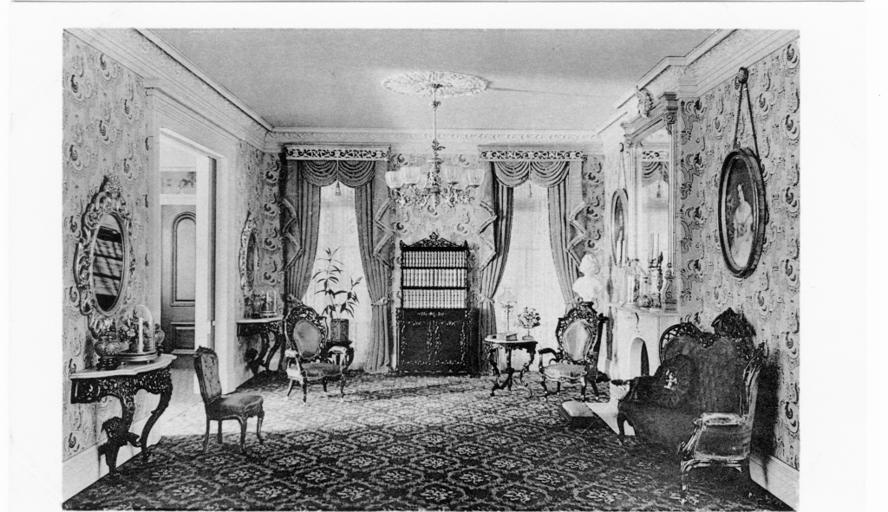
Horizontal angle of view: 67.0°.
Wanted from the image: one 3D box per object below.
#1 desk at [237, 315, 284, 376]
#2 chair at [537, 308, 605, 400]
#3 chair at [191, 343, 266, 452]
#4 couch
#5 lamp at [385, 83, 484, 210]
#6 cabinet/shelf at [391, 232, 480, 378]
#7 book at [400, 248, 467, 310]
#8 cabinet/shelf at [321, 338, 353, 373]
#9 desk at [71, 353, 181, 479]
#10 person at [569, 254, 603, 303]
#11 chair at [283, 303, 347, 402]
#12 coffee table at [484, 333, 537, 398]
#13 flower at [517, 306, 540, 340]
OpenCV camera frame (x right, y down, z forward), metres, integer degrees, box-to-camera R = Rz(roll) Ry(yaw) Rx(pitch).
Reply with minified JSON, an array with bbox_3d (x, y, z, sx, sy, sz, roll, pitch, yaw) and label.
[{"bbox_3d":[-3.251,1.508,11.714,0.775,1.102,1.122,-2,12,-12],"label":"desk"},{"bbox_3d":[2.002,1.476,10.427,0.894,1.470,0.818,2,-3,38],"label":"chair"},{"bbox_3d":[-2.693,1.786,8.490,0.762,1.296,0.549,-3,11,-15],"label":"chair"},{"bbox_3d":[3.056,1.677,8.059,1.288,1.943,1.648,-3,11,-17],"label":"couch"},{"bbox_3d":[-0.103,-1.642,10.235,1.691,2.042,1.696,0,-1,1],"label":"lamp"},{"bbox_3d":[-0.094,0.863,11.976,1.442,2.370,0.855,0,11,0],"label":"cabinet/shelf"},{"bbox_3d":[-0.170,0.464,12.132,1.085,0.916,0.115,0,-3,-1],"label":"book"},{"bbox_3d":[-1.777,1.702,11.456,0.590,0.567,0.552,-1,-8,2],"label":"cabinet/shelf"},{"bbox_3d":[-3.738,1.951,8.104,0.542,1.316,1.524,0,-1,10],"label":"desk"},{"bbox_3d":[2.568,0.432,12.143,0.767,1.148,0.530,-1,-11,19],"label":"person"},{"bbox_3d":[-2.044,1.496,10.553,0.872,1.415,0.994,-1,0,37],"label":"chair"},{"bbox_3d":[1.123,1.799,11.020,0.846,0.878,0.842,2,-7,13],"label":"coffee table"},{"bbox_3d":[1.409,1.103,10.915,0.490,0.557,0.505,0,-5,2],"label":"flower"}]
